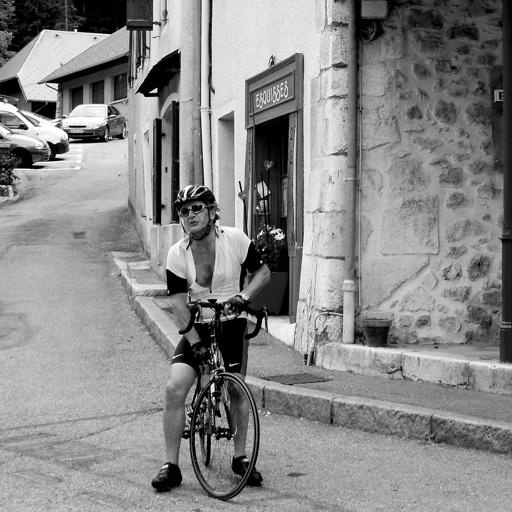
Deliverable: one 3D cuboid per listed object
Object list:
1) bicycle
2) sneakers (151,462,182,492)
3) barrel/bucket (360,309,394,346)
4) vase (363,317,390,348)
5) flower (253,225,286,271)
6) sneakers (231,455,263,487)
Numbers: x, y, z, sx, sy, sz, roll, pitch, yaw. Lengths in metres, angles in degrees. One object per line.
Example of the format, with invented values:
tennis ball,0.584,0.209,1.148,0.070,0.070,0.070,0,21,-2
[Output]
bicycle,-0.187,0.776,3.856,0.433,1.087,0.819,-4,3,-38
sneakers,-0.483,1.233,3.914,0.073,0.132,0.253,1,-5,19
barrel/bucket,1.193,0.722,6.831,0.218,0.273,0.266,-1,6,9
vase,1.160,0.736,6.746,0.198,0.222,0.252,3,-3,2
flower,0.190,-0.070,9.516,0.400,0.796,0.535,-4,-4,4
sneakers,-0.031,1.202,3.873,0.098,0.169,0.309,-2,-5,-19
